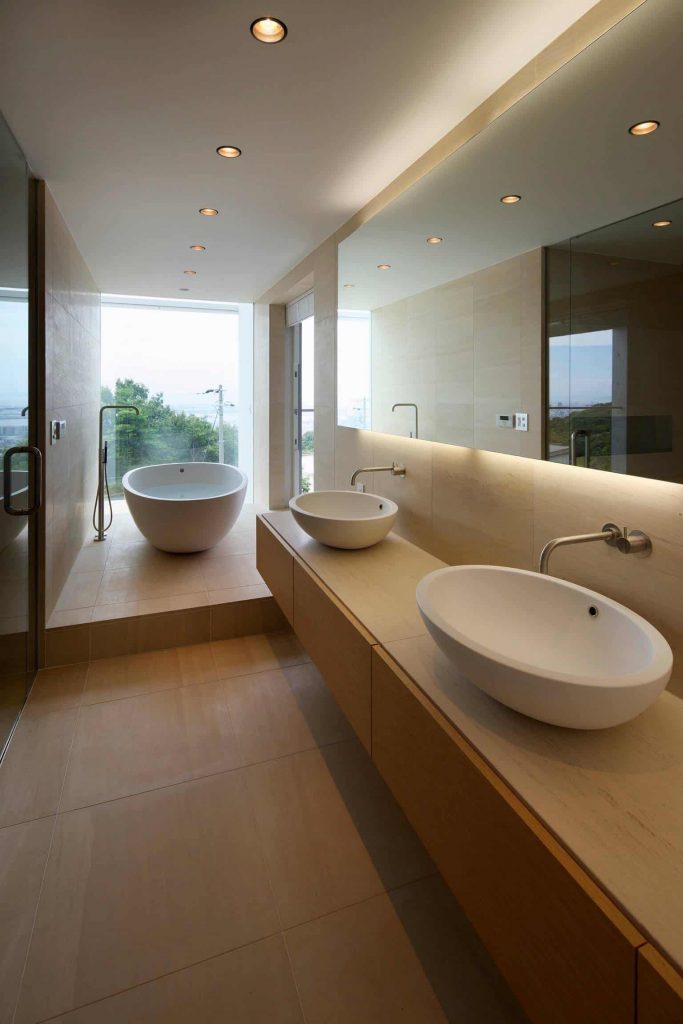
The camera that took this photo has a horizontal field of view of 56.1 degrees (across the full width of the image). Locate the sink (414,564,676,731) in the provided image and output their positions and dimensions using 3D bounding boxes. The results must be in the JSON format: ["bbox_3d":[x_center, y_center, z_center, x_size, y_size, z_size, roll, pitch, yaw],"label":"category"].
[{"bbox_3d":[0.374,0.279,1.315,0.398,0.181,0.634,-4,11,-20],"label":"sink"}]
